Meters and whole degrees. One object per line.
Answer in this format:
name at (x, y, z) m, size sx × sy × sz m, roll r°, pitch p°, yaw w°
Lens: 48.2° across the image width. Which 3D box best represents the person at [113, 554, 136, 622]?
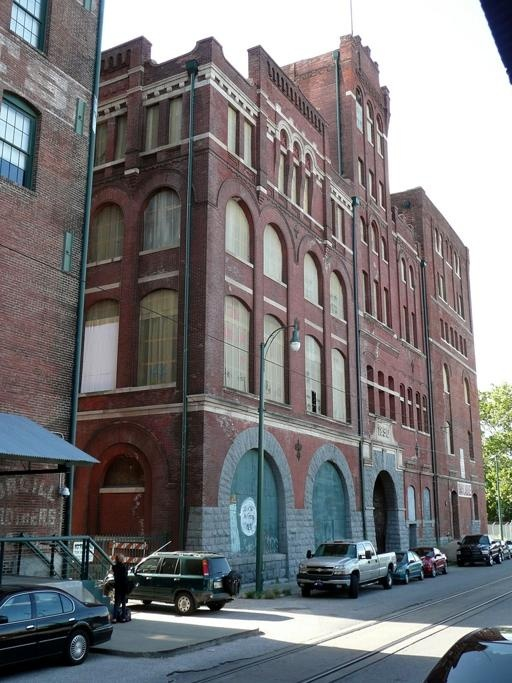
person at (-3.531, 6.512, 15.170) m, size 0.493 × 1.607 × 2.203 m, roll 1°, pitch -19°, yaw -12°
